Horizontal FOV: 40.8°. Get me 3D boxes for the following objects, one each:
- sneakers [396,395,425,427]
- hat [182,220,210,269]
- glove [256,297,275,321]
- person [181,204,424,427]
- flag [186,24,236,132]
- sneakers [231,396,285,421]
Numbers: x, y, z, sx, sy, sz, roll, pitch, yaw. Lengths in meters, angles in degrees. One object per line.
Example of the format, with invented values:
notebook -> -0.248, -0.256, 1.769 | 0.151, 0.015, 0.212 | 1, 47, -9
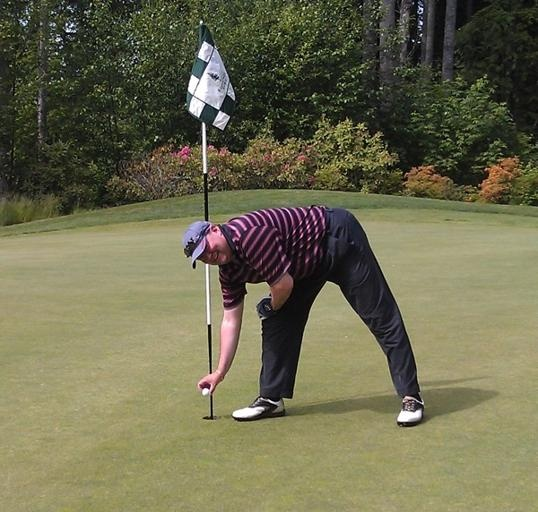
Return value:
sneakers -> 0.820, 0.920, 4.198 | 0.090, 0.096, 0.220 | -1, 3, 20
hat -> -0.395, -0.048, 3.956 | 0.145, 0.279, 0.390 | -2, 10, -6
glove -> -0.030, 0.325, 4.407 | 0.051, 0.140, 0.099 | 4, 52, -14
person -> 0.206, 0.361, 4.255 | 1.384, 1.292, 0.590 | -2, 10, -9
flag -> -0.402, -1.218, 4.916 | 0.318, 0.709, 0.495 | -1, 10, -3
sneakers -> -0.054, 0.944, 4.461 | 0.340, 0.149, 0.128 | 0, 2, -14
